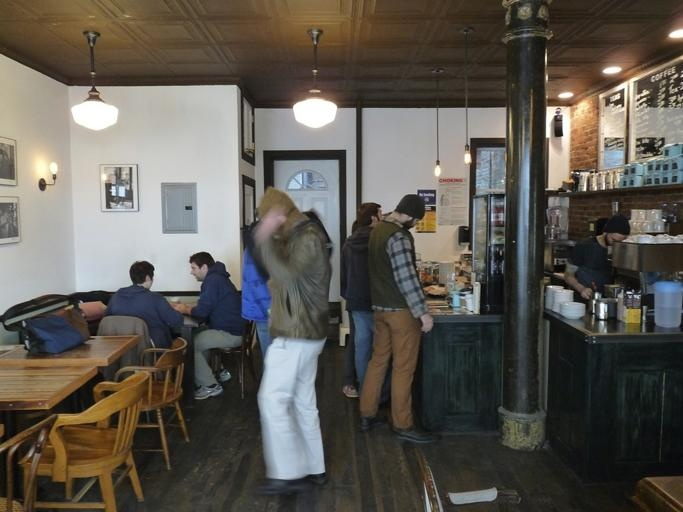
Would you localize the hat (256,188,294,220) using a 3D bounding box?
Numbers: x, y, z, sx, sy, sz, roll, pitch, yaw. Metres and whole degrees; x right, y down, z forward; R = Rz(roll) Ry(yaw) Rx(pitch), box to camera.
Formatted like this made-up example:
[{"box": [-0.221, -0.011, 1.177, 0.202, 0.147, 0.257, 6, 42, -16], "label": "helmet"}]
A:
[{"box": [-0.445, -0.364, 3.746, 0.267, 0.202, 0.182, -4, 3, -8], "label": "hat"}]

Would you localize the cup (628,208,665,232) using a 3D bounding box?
[{"box": [2.873, -0.310, 5.205, 0.257, 0.241, 0.254, 0, -3, 0], "label": "cup"}]

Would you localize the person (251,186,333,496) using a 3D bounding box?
[{"box": [-0.384, 0.558, 3.900, 0.642, 2.069, 0.639, -3, -10, 31], "label": "person"}]

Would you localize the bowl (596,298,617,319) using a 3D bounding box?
[{"box": [1.970, 0.398, 4.190, 0.166, 0.122, 0.117, -2, 1, -7], "label": "bowl"}]

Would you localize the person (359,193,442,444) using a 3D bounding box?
[{"box": [0.447, 0.500, 4.513, 0.643, 1.972, 0.332, -1, 5, 36], "label": "person"}]

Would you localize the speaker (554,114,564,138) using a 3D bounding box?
[{"box": [2.886, -1.726, 7.366, 0.154, 0.295, 0.130, -3, 4, 4], "label": "speaker"}]

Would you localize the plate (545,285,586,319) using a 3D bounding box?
[{"box": [1.747, 0.356, 4.309, 0.239, 0.216, 0.371, -3, 3, 0], "label": "plate"}]

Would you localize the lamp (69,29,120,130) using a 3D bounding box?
[{"box": [-2.431, -1.603, 5.408, 0.383, 0.798, 1.090, -5, 4, -23], "label": "lamp"}]

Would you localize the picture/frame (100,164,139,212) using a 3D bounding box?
[{"box": [-2.499, -0.779, 6.208, 0.535, 0.692, 0.045, 0, 6, 2], "label": "picture/frame"}]

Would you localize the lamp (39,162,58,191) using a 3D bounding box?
[{"box": [-3.046, -0.824, 5.770, 0.125, 0.316, 0.347, -4, 3, -5], "label": "lamp"}]

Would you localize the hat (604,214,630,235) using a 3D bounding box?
[{"box": [2.463, -0.268, 5.010, 0.180, 0.163, 0.186, 7, 15, -1], "label": "hat"}]

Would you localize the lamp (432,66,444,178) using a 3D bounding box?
[{"box": [1.219, -1.614, 7.092, 0.146, 1.207, 0.149, 7, 26, 26], "label": "lamp"}]

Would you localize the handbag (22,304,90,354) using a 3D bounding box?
[{"box": [-2.161, 0.563, 4.181, 0.409, 0.161, 0.323, -10, 8, -29], "label": "handbag"}]

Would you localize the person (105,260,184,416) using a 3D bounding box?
[{"box": [-1.798, 0.660, 5.035, 0.699, 1.260, 0.482, 4, 20, -3], "label": "person"}]

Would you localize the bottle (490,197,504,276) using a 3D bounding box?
[{"box": [1.274, -0.167, 4.538, 0.125, 0.653, 0.068, -3, 4, 11], "label": "bottle"}]

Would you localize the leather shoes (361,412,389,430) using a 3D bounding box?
[{"box": [0.272, 1.397, 4.717, 0.094, 0.115, 0.266, 3, 5, 43], "label": "leather shoes"}]

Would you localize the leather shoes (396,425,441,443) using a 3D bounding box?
[{"box": [0.595, 1.435, 4.446, 0.374, 0.136, 0.126, 0, -2, 0], "label": "leather shoes"}]

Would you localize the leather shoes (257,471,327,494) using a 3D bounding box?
[{"box": [-0.354, 1.558, 3.925, 0.473, 0.199, 0.157, 4, -5, -14], "label": "leather shoes"}]

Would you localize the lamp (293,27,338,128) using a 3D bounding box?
[{"box": [-0.275, -1.723, 5.302, 0.394, 0.798, 0.365, 15, 23, 28], "label": "lamp"}]

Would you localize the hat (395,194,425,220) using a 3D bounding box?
[{"box": [0.573, -0.392, 4.465, 0.231, 0.177, 0.168, 0, 15, -19], "label": "hat"}]

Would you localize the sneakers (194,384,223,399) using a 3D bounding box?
[{"box": [-1.280, 1.290, 5.291, 0.272, 0.124, 0.101, 2, -2, -24], "label": "sneakers"}]

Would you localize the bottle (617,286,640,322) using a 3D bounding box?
[{"box": [2.095, 0.367, 4.039, 0.152, 0.235, 0.129, -1, 4, 30], "label": "bottle"}]
